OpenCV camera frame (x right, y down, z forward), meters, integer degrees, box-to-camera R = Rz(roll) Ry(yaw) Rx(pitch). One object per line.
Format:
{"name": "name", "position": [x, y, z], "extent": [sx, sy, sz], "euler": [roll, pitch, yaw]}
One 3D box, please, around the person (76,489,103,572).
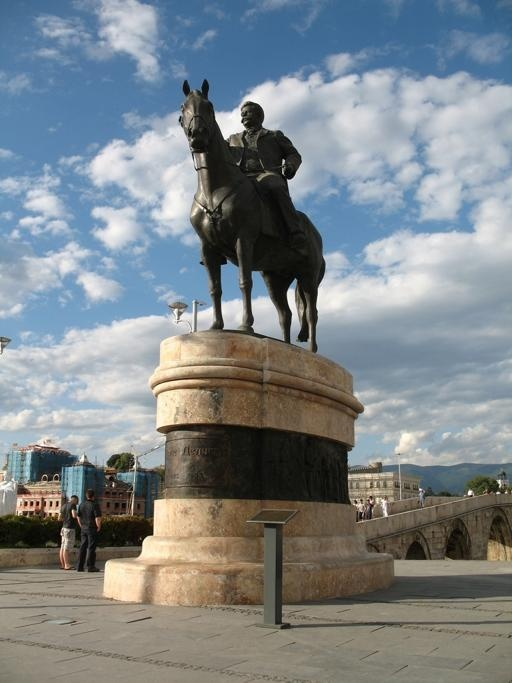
{"name": "person", "position": [-2.921, 3.290, 11.793], "extent": [0.395, 1.370, 1.447], "euler": [2, -12, -14]}

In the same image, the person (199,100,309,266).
{"name": "person", "position": [-0.027, -2.438, 9.702], "extent": [1.382, 2.198, 1.069], "euler": [-7, -6, -15]}
